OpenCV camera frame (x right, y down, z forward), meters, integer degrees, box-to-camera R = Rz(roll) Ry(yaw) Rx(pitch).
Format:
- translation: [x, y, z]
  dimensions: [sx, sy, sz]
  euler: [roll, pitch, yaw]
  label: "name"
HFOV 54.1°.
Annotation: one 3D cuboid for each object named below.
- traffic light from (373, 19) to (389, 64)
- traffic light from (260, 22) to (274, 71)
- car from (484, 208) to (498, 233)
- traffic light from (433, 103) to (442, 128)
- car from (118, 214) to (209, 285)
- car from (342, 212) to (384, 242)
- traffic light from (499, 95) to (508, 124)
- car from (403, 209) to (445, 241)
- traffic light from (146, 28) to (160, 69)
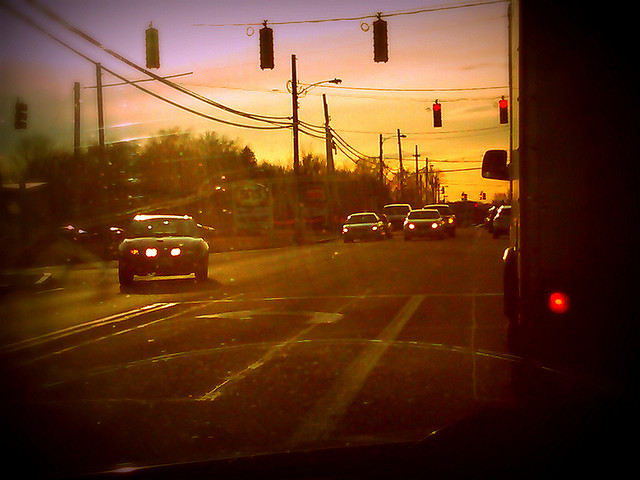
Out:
- translation: [1.838, -6.076, 18.954]
  dimensions: [0.381, 1.443, 0.872]
  euler: [-1, 1, 5]
  label: "traffic light"
- translation: [-1.714, -6.168, 19.987]
  dimensions: [0.383, 1.592, 1.039]
  euler: [-1, 1, -5]
  label: "traffic light"
- translation: [13.180, -1.488, 47.393]
  dimensions: [1.765, 1.541, 4.168]
  euler: [1, 6, 14]
  label: "car"
- translation: [5.096, -5.408, 27.157]
  dimensions: [0.270, 0.957, 0.547]
  euler: [-1, 1, 3]
  label: "traffic light"
- translation: [-4.212, 0.036, 16.721]
  dimensions: [1.372, 1.422, 2.716]
  euler: [-1, -7, -10]
  label: "car"
- translation: [2.737, -0.793, 39.633]
  dimensions: [2.434, 1.754, 2.201]
  euler: [-1, 2, 7]
  label: "car"
- translation: [8.630, -6.218, 29.483]
  dimensions: [0.249, 1.349, 1.942]
  euler: [-1, 2, 14]
  label: "traffic light"
- translation: [6.282, -0.876, 37.698]
  dimensions: [2.274, 1.788, 1.773]
  euler: [-1, 2, 16]
  label: "car"
- translation: [-4.758, -5.455, 17.730]
  dimensions: [0.318, 1.154, 0.363]
  euler: [-1, 1, -18]
  label: "traffic light"
